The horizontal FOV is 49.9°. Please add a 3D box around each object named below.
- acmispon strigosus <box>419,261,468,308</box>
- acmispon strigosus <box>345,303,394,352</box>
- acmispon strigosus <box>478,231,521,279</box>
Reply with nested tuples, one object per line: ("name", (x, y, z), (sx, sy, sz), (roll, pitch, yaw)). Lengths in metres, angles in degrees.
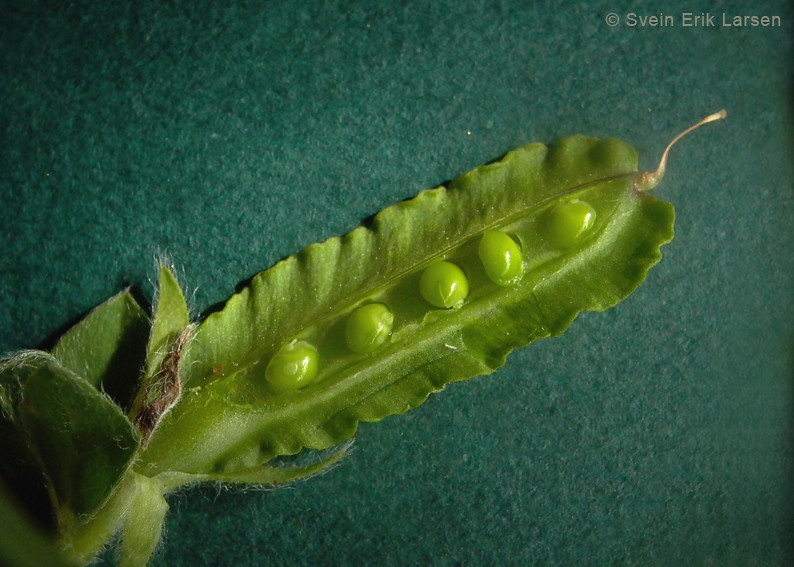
("acmispon strigosus", (0.126, 0.011, 2.307), (0.106, 0.132, 0.065), (-6, -1, -1))
("acmispon strigosus", (-0.090, 0.150, 2.333), (0.118, 0.086, 0.103), (-9, 22, -25))
("acmispon strigosus", (0.283, -0.070, 2.364), (0.092, 0.134, 0.074), (-32, 0, 4))
